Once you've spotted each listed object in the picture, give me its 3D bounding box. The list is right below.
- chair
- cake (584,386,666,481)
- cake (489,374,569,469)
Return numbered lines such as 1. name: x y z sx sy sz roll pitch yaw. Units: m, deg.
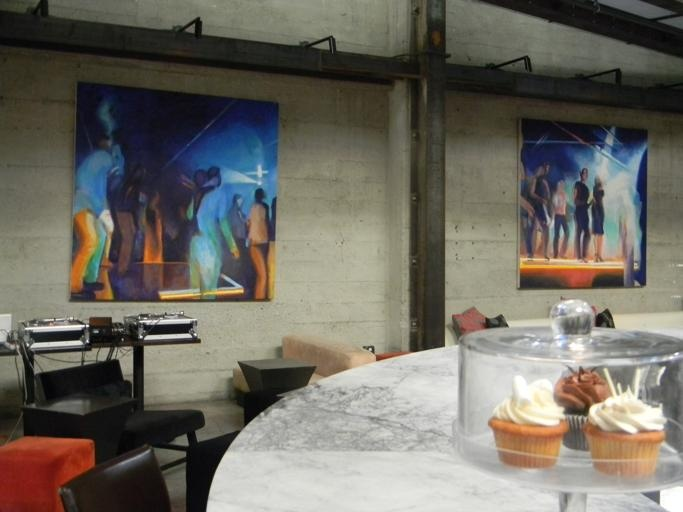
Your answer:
1. chair: -1.858 1.371 6.231 1.092 1.029 1.131 -2 -4 21
2. cake: 1.176 0.718 3.065 0.290 0.325 0.286 2 2 -21
3. cake: 0.794 0.682 3.115 0.275 0.343 0.306 4 2 32
